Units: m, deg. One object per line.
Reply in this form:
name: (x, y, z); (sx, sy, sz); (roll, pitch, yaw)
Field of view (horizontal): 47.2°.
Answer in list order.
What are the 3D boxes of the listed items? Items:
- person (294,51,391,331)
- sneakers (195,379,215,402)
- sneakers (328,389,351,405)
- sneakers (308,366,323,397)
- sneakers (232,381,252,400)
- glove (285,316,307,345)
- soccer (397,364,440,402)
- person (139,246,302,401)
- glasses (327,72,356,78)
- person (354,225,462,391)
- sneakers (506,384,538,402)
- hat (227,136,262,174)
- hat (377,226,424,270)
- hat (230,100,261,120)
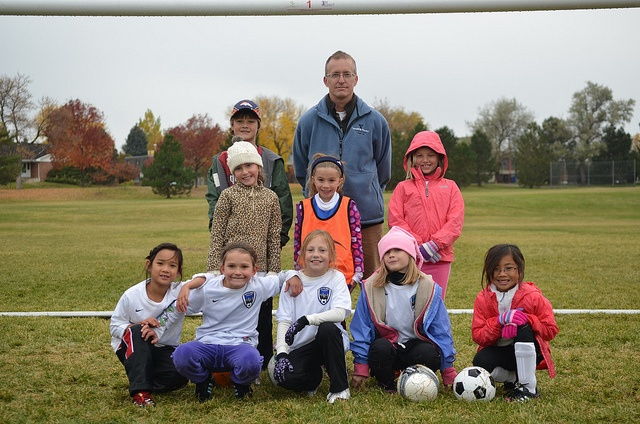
person: (0.267, -0.049, 9.755); (1.261, 4.017, 1.114); (1, -6, 11)
sneakers: (-1.316, 1.997, 8.345); (0.202, 0.264, 0.210); (-2, 7, -11)
sneakers: (0.217, 2.087, 8.299); (0.242, 0.156, 0.112); (7, -11, -35)
sneakers: (-0.080, 1.950, 8.443); (0.198, 0.281, 0.236); (-3, 3, -2)
sneakers: (-0.881, 2.022, 8.335); (0.217, 0.225, 0.122); (-3, -1, 31)
glove: (-0.289, 1.322, 8.411); (0.108, 0.312, 0.242); (41, -12, 32)
soccer: (1.157, 2.001, 8.456); (0.365, 0.385, 0.388); (42, 0, 25)
person: (-1.144, 1.330, 8.469); (1.433, 1.791, 0.896); (2, -15, -7)
glasses: (0.264, -1.701, 9.145); (0.321, 0.077, 0.079); (-1, 6, -2)
person: (0.959, 1.140, 8.581); (1.215, 1.809, 0.483); (0, 7, 2)
sneakers: (2.292, 2.056, 8.333); (0.355, 0.159, 0.172); (4, -8, -14)
hat: (-0.850, -0.684, 8.897); (0.322, 0.340, 0.379); (-1, 6, 19)
hat: (0.960, 0.436, 8.800); (0.499, 0.414, 0.374); (17, -31, -27)
hat: (-0.920, -1.276, 9.195); (0.380, 0.250, 0.423); (-2, 6, -13)
